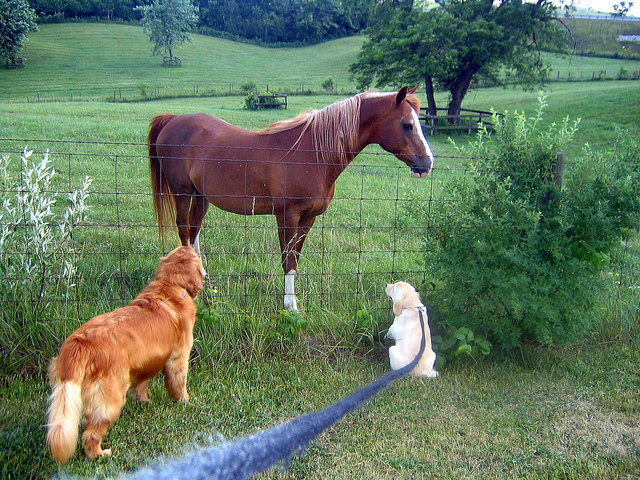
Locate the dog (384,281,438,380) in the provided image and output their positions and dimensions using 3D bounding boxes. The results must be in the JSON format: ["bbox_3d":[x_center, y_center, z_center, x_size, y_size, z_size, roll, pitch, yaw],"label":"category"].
[{"bbox_3d":[1.293,1.252,9.140,0.564,1.545,0.734,8,-22,-38],"label":"dog"}]

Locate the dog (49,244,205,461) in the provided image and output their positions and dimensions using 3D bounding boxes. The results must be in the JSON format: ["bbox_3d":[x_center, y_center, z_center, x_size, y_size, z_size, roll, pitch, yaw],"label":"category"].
[{"bbox_3d":[-2.530,1.380,8.623,0.970,2.189,3.096,9,12,19],"label":"dog"}]
